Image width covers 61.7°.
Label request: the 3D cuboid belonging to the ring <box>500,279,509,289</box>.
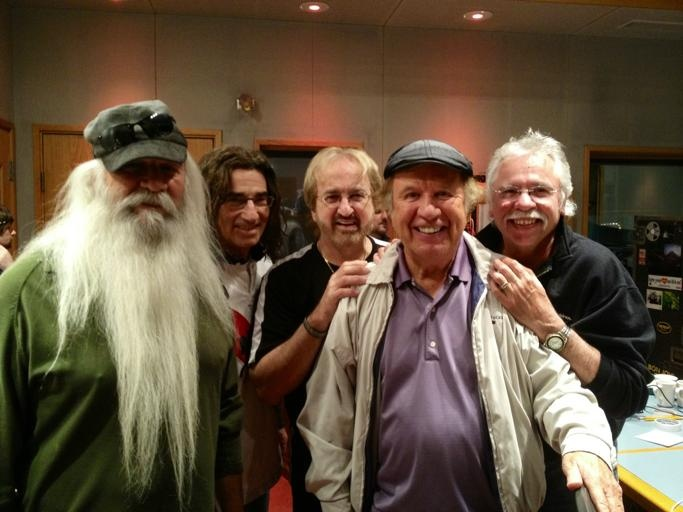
[{"bbox_3d":[0.660,0.118,2.320,0.028,0.030,0.007,13,9,44],"label":"ring"}]
